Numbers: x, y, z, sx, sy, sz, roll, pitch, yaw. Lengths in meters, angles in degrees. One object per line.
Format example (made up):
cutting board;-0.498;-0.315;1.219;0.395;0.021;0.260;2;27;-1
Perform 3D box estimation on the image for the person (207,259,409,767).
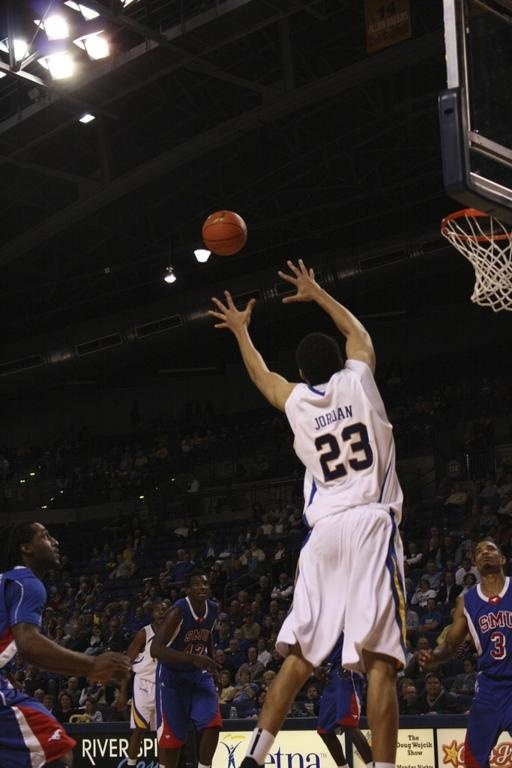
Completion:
person;0.253;0.504;2.677;0.562;1.503;0.631;-5;-11;8
